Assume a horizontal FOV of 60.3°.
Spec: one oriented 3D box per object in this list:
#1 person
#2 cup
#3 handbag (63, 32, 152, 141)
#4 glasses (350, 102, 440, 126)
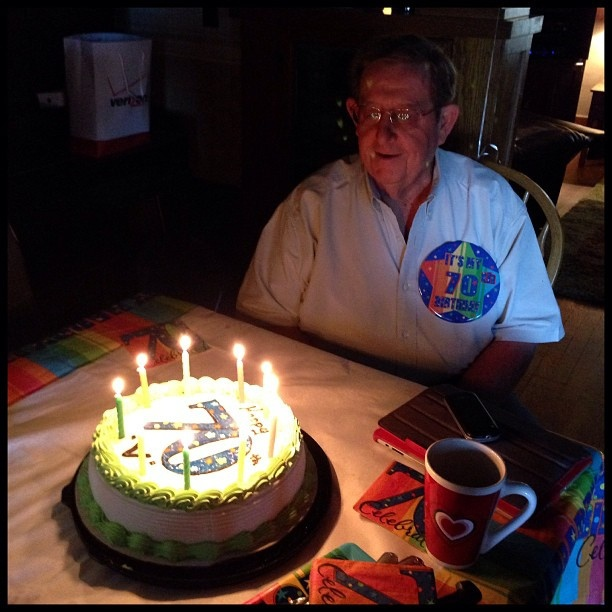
[{"bbox_3d":[0.220,-0.211,1.816,1.160,1.136,0.801,10,39,17],"label":"person"},{"bbox_3d":[0.239,0.281,0.741,0.156,0.163,0.124,12,28,17],"label":"cup"},{"bbox_3d":[-0.777,-0.861,2.025,0.197,0.376,0.301,34,41,29],"label":"handbag"},{"bbox_3d":[0.231,-0.489,1.348,0.195,0.052,0.063,9,27,9],"label":"glasses"}]
